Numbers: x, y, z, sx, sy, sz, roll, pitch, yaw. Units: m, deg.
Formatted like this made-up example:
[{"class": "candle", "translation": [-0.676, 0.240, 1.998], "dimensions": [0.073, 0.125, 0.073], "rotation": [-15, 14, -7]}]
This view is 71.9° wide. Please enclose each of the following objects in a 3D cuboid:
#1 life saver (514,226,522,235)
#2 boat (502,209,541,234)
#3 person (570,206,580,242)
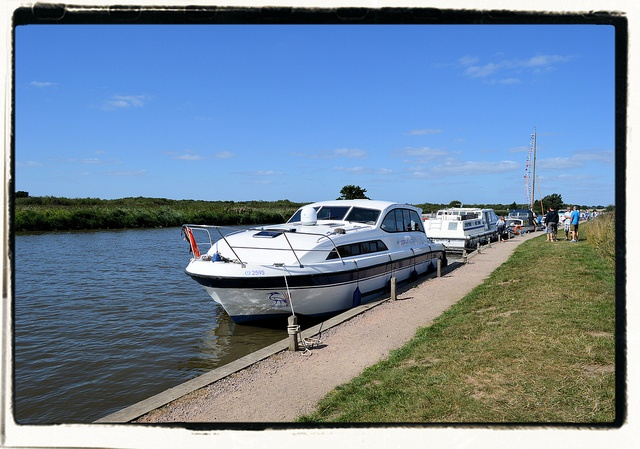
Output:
[{"class": "life saver", "translation": [14.627, 0.443, 32.551], "dimensions": [0.307, 0.772, 1.369], "rotation": [-4, 7, 36]}, {"class": "boat", "translation": [15.173, -0.342, 34.574], "dimensions": [1.780, 1.470, 4.966], "rotation": [-4, -4, 42]}, {"class": "person", "translation": [11.210, 0.018, 19.439], "dimensions": [0.367, 1.534, 1.289], "rotation": [-6, 8, 28]}]
